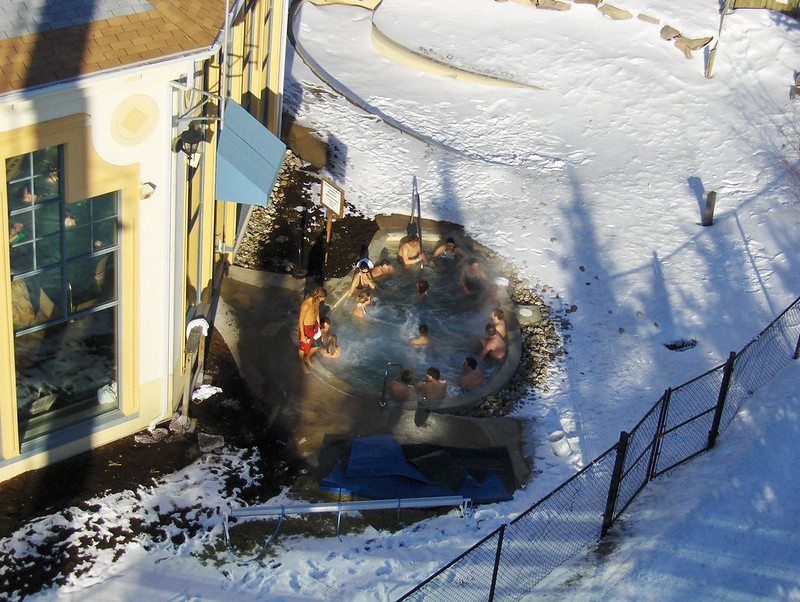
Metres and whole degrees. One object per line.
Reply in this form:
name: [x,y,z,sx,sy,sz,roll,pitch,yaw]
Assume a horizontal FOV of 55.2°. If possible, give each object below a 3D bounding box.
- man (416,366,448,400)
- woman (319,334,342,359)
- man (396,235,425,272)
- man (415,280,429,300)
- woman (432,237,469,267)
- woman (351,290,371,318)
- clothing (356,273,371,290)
man: [0.632,1.715,15.199,0.692,1.101,0.607,-1,60,-2]
woman: [-1.469,0.972,15.893,0.617,0.751,0.435,2,79,-8]
man: [0.309,-1.242,18.530,0.689,0.851,0.640,-7,56,-9]
man: [0.523,-0.338,17.848,0.308,0.617,0.524,5,55,0]
woman: [1.190,-1.213,18.833,0.900,1.224,0.668,3,72,1]
woman: [-0.876,0.025,16.999,0.377,0.934,0.466,5,55,0]
clothing: [-0.834,-0.474,17.432,0.324,0.140,0.315,-5,89,-50]
